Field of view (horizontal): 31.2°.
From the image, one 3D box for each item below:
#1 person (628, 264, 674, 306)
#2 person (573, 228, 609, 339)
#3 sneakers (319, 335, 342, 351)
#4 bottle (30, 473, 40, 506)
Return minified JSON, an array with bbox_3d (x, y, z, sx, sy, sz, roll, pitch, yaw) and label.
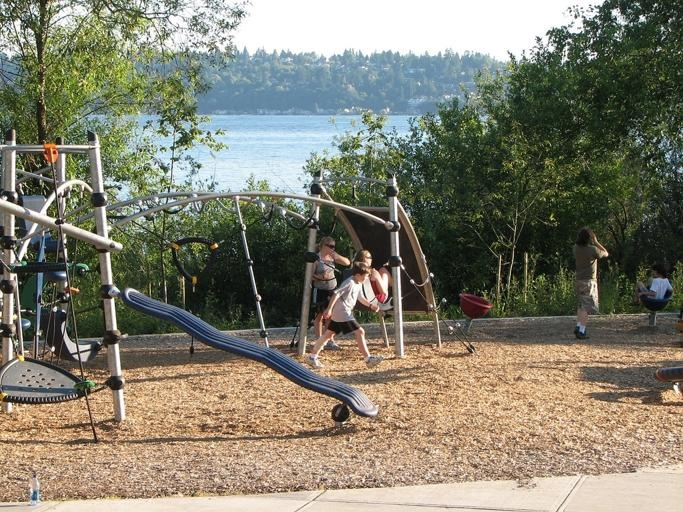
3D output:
[{"bbox_3d":[6.158,0.622,24.445,0.565,1.125,0.772,-4,17,-35],"label":"person"},{"bbox_3d":[4.784,0.535,23.864,0.555,2.202,0.678,2,12,11],"label":"person"},{"bbox_3d":[-0.174,1.695,23.262,0.488,0.223,0.164,-1,3,-43],"label":"sneakers"},{"bbox_3d":[-4.420,3.373,17.674,0.143,0.369,0.321,-4,12,-15],"label":"bottle"}]
